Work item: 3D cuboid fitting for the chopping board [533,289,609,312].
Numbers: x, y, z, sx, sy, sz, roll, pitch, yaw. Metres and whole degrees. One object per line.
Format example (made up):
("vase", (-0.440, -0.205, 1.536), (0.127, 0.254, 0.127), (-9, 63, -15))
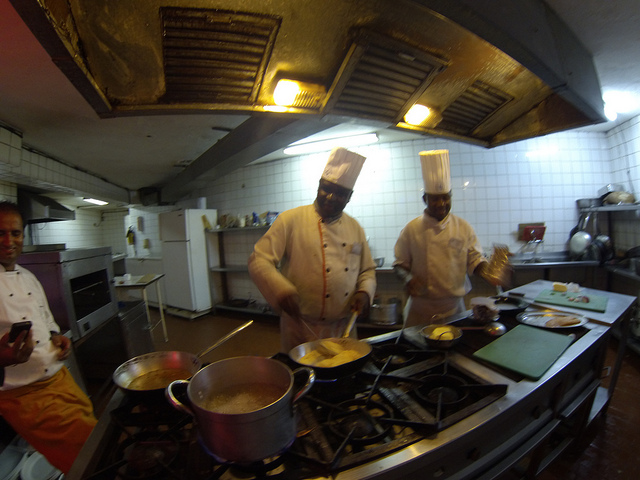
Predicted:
("chopping board", (1.642, 0.380, 2.744), (0.361, 0.080, 0.247), (3, 6, 28))

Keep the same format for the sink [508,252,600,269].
("sink", (2.496, 0.233, 4.523), (0.883, 0.167, 0.436), (-2, 3, 10))

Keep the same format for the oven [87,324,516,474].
("oven", (-0.100, 0.705, 1.889), (1.728, 0.419, 0.578), (-3, 3, -12))

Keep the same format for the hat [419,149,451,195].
("hat", (0.779, -0.461, 2.859), (0.180, 0.307, 0.131), (-3, 4, 12))

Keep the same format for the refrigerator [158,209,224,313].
("refrigerator", (-1.801, 0.282, 5.843), (0.661, 1.404, 0.530), (-5, 4, -13))

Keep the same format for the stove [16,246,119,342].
("stove", (-1.847, 0.375, 3.322), (0.594, 0.569, 0.734), (3, 6, -4))

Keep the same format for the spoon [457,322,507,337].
("spoon", (0.913, 0.498, 2.412), (0.217, 0.048, 0.091), (1, -2, 34))

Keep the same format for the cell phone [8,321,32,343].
("cell phone", (-1.520, 0.472, 2.164), (0.123, 0.097, 0.071), (-2, 4, 9))

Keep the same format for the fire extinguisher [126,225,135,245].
("fire extinguisher", (-3.494, -0.088, 7.868), (0.102, 0.337, 0.250), (-7, 5, -31))
